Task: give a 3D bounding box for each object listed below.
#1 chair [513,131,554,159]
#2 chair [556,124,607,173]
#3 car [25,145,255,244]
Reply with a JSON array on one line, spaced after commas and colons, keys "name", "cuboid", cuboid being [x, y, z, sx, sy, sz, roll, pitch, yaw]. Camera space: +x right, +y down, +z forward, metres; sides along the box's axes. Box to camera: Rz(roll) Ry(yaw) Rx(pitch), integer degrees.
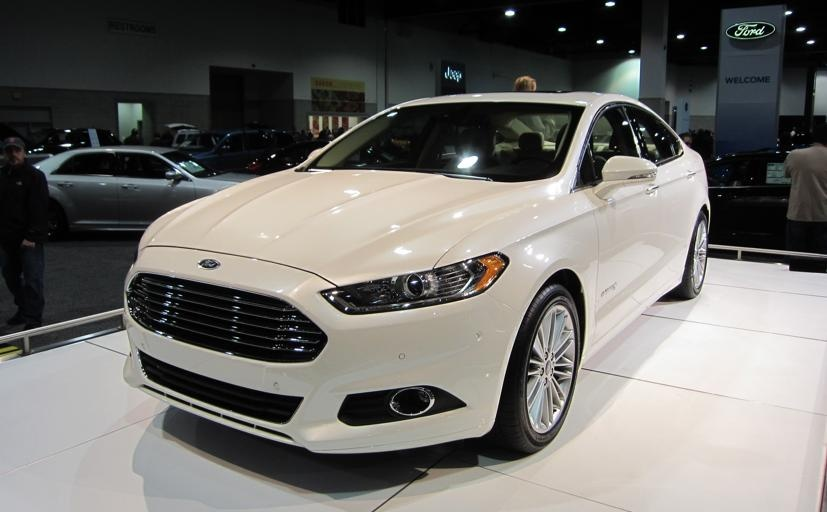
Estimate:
[{"name": "chair", "cuboid": [0.841, -0.775, 3.450, 0.224, 0.176, 0.217, 7, 23, 24]}, {"name": "chair", "cuboid": [1.214, -0.751, 3.468, 0.356, 0.354, 0.351, 3, 10, 33]}, {"name": "car", "cuboid": [-4.557, -1.201, 9.567, 4.405, 1.509, 1.867, -3, 11, -13]}]
